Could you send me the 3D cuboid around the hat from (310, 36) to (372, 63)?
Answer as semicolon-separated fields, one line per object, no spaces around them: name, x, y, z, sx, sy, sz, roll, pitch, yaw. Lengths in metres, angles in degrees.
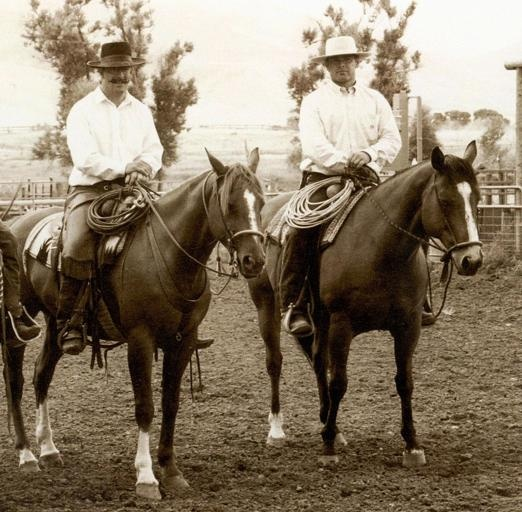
hat;0.690;-1.819;7.699;0.489;0.218;0.470;-1;11;6

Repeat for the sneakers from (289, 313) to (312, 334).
sneakers;0.308;0.548;7.242;0.199;0.160;0.188;-13;14;-7

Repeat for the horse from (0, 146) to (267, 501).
horse;-1.024;0.457;6.887;2.343;2.548;1.146;3;16;27

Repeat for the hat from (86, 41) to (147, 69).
hat;-1.242;-1.636;7.247;0.374;0.108;0.384;-7;5;-39

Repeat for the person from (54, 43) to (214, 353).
person;-1.207;-0.597;7.226;1.154;2.162;0.948;-5;11;-19
